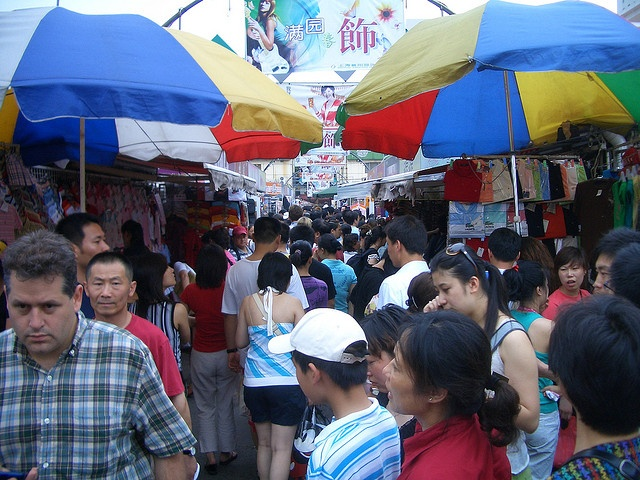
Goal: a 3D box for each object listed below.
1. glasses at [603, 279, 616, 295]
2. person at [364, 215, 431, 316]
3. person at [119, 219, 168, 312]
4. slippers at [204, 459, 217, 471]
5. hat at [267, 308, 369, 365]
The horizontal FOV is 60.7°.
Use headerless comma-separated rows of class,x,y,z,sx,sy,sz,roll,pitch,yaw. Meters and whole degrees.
glasses,1.724,0.279,3.242,0.072,0.108,0.091,-13,-11,29
person,0.736,0.184,4.609,0.433,0.824,0.823,-3,7,24
person,-1.421,0.270,4.415,0.282,0.888,0.284,-14,28,-19
slippers,-0.993,2.063,4.970,0.114,0.103,0.123,-4,-5,-14
hat,-0.004,0.519,2.987,0.568,0.323,0.414,9,-6,19
